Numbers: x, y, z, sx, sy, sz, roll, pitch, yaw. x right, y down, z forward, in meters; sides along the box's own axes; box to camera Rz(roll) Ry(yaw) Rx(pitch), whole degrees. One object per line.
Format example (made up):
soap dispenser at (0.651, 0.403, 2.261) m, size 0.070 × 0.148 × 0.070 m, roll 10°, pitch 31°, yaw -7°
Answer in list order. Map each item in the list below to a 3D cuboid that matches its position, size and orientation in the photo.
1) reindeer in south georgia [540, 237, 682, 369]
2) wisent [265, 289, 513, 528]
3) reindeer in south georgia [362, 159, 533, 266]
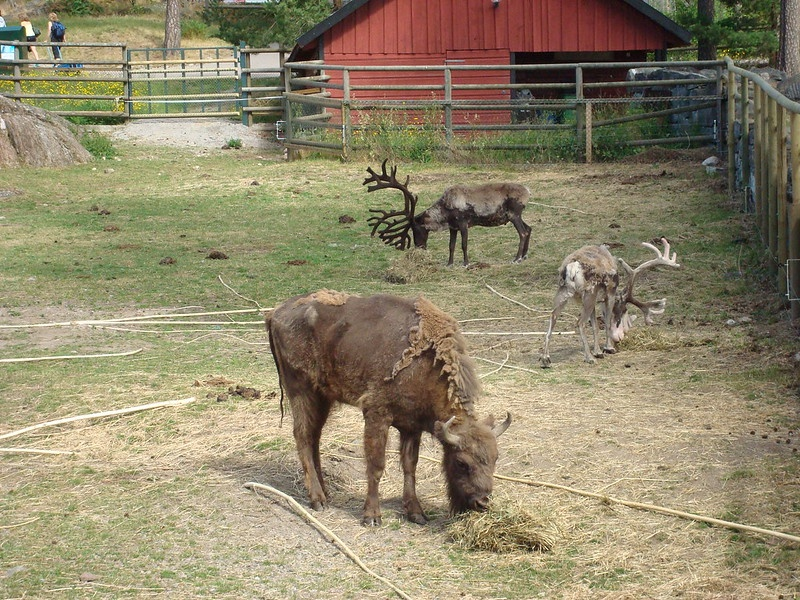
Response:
reindeer in south georgia at (3.101, -0.140, 18.471) m, size 2.073 × 1.989 × 1.843 m, roll 3°, pitch 14°, yaw 5°
wisent at (-0.048, 1.115, 14.853) m, size 2.769 × 2.792 × 2.509 m, roll 1°, pitch 19°, yaw -25°
reindeer in south georgia at (0.995, -1.539, 22.759) m, size 2.982 × 1.844 × 1.360 m, roll -7°, pitch 4°, yaw 2°
